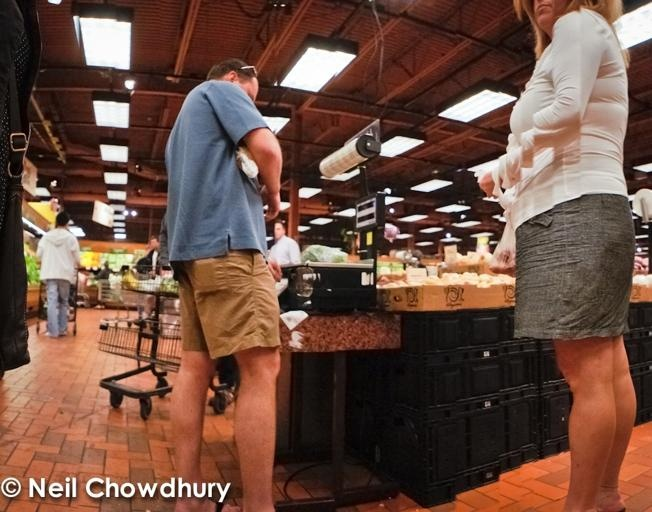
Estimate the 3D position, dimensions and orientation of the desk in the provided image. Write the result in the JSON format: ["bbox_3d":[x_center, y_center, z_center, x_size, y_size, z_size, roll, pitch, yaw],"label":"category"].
[{"bbox_3d":[-0.008,0.736,2.577,0.656,0.880,0.707,0,-4,-16],"label":"desk"}]

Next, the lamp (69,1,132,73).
[{"bbox_3d":[-2.535,-2.508,5.590,0.571,0.339,1.065,0,-3,-22],"label":"lamp"}]

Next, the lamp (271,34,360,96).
[{"bbox_3d":[-0.116,-2.398,6.083,0.659,0.203,1.070,0,-3,-21],"label":"lamp"}]

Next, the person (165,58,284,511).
[{"bbox_3d":[-0.420,0.098,1.932,0.497,1.681,0.311,-2,-4,1],"label":"person"}]

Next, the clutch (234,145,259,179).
[{"bbox_3d":[-0.315,-0.364,1.929,0.076,0.116,0.033,-20,-1,-21],"label":"clutch"}]
